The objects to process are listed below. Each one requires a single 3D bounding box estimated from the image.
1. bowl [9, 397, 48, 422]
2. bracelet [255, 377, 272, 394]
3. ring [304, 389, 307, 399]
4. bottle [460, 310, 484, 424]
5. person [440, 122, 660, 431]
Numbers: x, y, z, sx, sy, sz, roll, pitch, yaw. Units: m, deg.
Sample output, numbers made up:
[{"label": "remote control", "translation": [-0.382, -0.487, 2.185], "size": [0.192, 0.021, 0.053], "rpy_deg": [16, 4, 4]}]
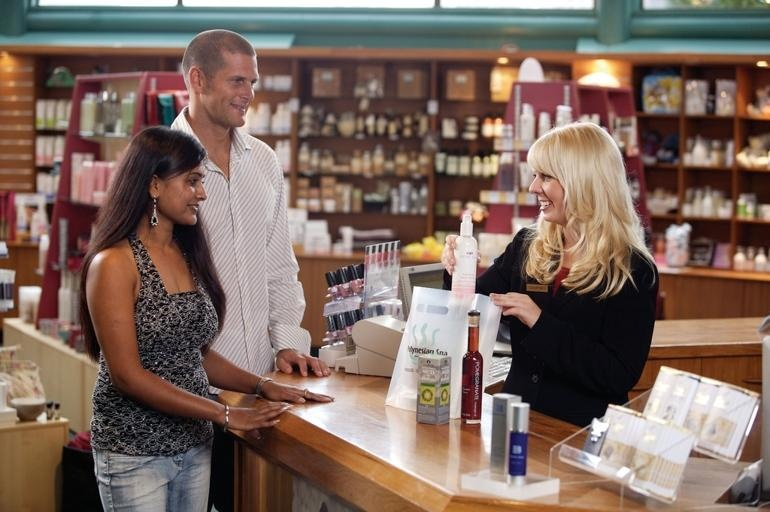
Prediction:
[{"label": "bowl", "translation": [-2.178, 0.926, 4.373], "size": [0.157, 0.086, 0.153], "rpy_deg": [2, -3, 0]}, {"label": "bracelet", "translation": [-0.522, 0.562, 3.127], "size": [0.029, 0.072, 0.063], "rpy_deg": [15, -2, -2]}, {"label": "ring", "translation": [-0.337, 0.586, 3.051], "size": [0.007, 0.031, 0.030], "rpy_deg": [12, 43, 0]}, {"label": "bottle", "translation": [0.353, 0.435, 2.808], "size": [0.089, 0.448, 0.053], "rpy_deg": [4, 10, 5]}, {"label": "person", "translation": [0.841, -0.013, 3.168], "size": [0.700, 1.127, 0.553], "rpy_deg": [5, 10, 7]}]
